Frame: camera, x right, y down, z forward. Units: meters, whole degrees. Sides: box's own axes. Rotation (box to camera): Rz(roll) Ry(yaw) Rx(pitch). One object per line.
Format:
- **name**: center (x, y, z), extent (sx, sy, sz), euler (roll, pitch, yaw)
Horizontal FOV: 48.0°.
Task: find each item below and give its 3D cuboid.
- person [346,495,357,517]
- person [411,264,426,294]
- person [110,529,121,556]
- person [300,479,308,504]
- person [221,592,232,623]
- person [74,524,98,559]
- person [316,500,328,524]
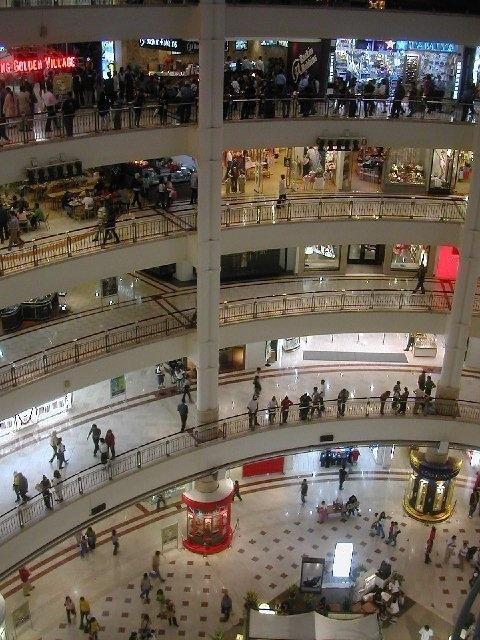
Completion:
- **person**: center (3.980, 6.588, 19.052), extent (0.443, 1.145, 0.388), euler (8, 56, 6)
- **person**: center (6.610, -1.481, 19.748), extent (0.388, 1.291, 0.428), euler (8, 43, 10)
- **person**: center (-3.993, 7.080, 17.133), extent (0.233, 0.845, 0.251), euler (-24, 56, -23)
- **person**: center (2.337, 6.081, 19.517), extent (0.262, 1.060, 0.672), euler (2, 18, 6)
- **person**: center (-0.390, 7.742, 15.005), extent (0.340, 0.897, 0.897), euler (-1, 19, -2)
- **person**: center (-4.890, 6.771, 17.028), extent (0.636, 1.034, 0.803), euler (-7, 20, -21)
- **person**: center (2.895, 6.735, 18.874), extent (0.383, 1.125, 0.360), euler (-3, 50, -2)
